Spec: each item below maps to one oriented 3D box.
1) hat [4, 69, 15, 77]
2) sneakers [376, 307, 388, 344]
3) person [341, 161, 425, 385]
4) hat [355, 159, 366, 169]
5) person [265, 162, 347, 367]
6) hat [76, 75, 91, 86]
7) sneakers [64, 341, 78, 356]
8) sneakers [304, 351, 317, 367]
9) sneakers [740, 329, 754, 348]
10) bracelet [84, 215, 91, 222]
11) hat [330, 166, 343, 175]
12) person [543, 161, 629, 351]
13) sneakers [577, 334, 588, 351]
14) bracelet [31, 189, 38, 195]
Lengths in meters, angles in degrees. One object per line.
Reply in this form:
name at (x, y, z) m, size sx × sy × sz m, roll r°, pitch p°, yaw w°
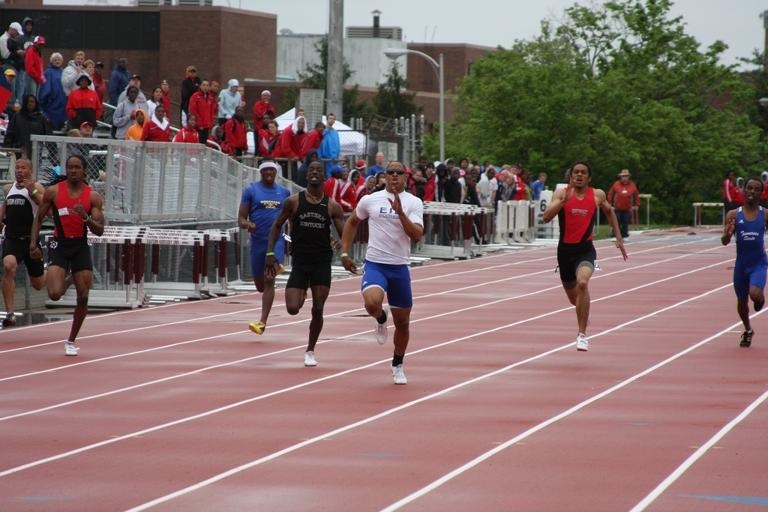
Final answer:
hat at (-8.300, -4.054, 21.368) m, size 0.218 × 0.167 × 0.203 m, roll -1°, pitch 5°, yaw -20°
sneakers at (-0.027, 0.880, 11.897) m, size 0.170 × 0.462 × 0.206 m, roll -3°, pitch 16°, yaw -1°
person at (-0.015, 0.194, 11.575) m, size 0.924 × 2.625 × 0.878 m, roll 0°, pitch 4°, yaw -3°
hat at (-0.627, -2.388, 25.090) m, size 0.180 × 0.235 × 0.340 m, roll 28°, pitch -4°, yaw -41°
person at (-0.993, 0.092, 12.632) m, size 0.852 × 2.632 × 1.211 m, roll -1°, pitch 5°, yaw -17°
hat at (-6.860, -3.963, 22.008) m, size 0.295 × 0.305 × 0.660 m, roll -1°, pitch 5°, yaw -19°
sneakers at (-4.266, 1.257, 13.138) m, size 0.156 × 0.196 × 0.217 m, roll -1°, pitch 5°, yaw -17°
sneakers at (-0.957, 1.322, 12.586) m, size 0.168 × 0.185 × 0.336 m, roll 0°, pitch 5°, yaw -4°
sneakers at (5.209, 1.168, 13.875) m, size 0.167 × 0.250 × 0.451 m, roll 2°, pitch 5°, yaw 20°
bracelet at (-3.977, -0.504, 12.920) m, size 0.069 × 0.086 × 0.033 m, roll 13°, pitch -13°, yaw -16°
hat at (-1.199, -2.129, 24.263) m, size 0.328 × 0.250 × 0.280 m, roll -25°, pitch 10°, yaw -1°
person at (2.762, 0.008, 13.516) m, size 0.868 × 2.620 × 1.532 m, roll 2°, pitch 5°, yaw 19°
sneakers at (2.710, 1.185, 13.212) m, size 0.136 × 0.155 × 0.363 m, roll 3°, pitch 2°, yaw 10°
bracelet at (-5.348, -0.984, 14.729) m, size 0.116 × 0.113 × 0.065 m, roll -13°, pitch 46°, yaw -40°
